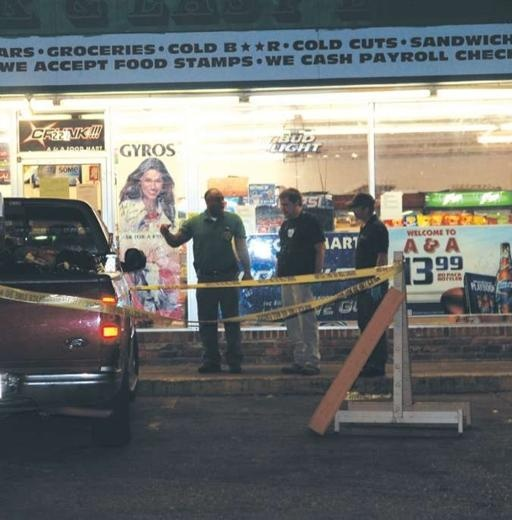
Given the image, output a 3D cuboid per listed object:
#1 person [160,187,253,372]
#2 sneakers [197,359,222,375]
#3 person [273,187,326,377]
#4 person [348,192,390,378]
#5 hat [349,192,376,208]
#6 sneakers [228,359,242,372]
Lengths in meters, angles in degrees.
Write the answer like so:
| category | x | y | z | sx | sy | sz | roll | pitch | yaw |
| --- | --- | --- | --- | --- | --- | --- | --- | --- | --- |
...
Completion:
| category | x | y | z | sx | sy | sz | roll | pitch | yaw |
| --- | --- | --- | --- | --- | --- | --- | --- | --- | --- |
| person | -0.463 | 0.222 | 14.142 | 0.814 | 1.823 | 0.665 | -2 | 5 | 0 |
| sneakers | -0.470 | 1.098 | 14.062 | 0.257 | 0.124 | 0.098 | 3 | -1 | -13 |
| person | 0.451 | 0.219 | 13.885 | 0.488 | 1.819 | 0.560 | -2 | 5 | 1 |
| person | 1.118 | 0.237 | 13.395 | 0.337 | 1.697 | 1.046 | -2 | 5 | 4 |
| hat | 1.050 | -0.567 | 13.670 | 0.179 | 0.102 | 0.126 | 11 | 14 | 43 |
| sneakers | -0.219 | 1.074 | 13.933 | 0.131 | 0.144 | 0.150 | -3 | 5 | -5 |
